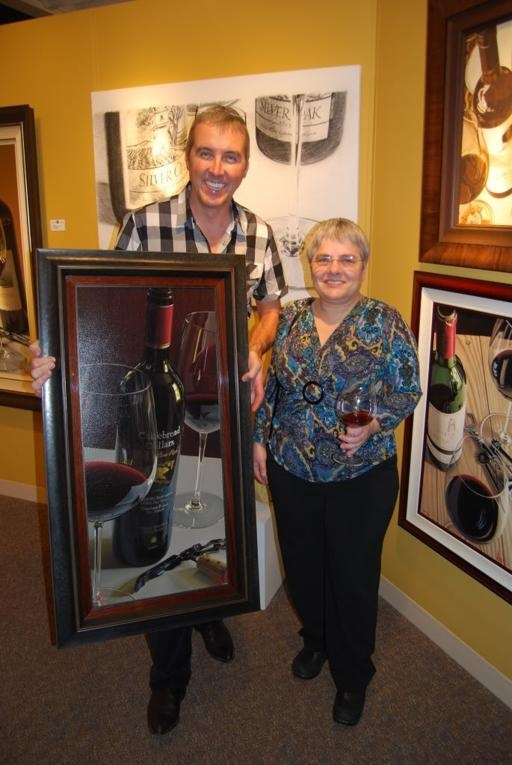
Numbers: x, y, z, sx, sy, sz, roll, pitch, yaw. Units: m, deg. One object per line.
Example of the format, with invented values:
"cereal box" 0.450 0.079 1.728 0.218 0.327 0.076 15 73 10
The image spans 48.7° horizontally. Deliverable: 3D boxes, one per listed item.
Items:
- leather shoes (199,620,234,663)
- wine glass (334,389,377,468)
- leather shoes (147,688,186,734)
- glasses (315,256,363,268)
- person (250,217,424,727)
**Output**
"leather shoes" -0.162 1.048 2.335 0.088 0.164 0.253 -7 -6 -26
"wine glass" 0.280 0.074 1.600 0.105 0.106 0.153 1 9 12
"leather shoes" -0.325 1.121 1.950 0.091 0.098 0.223 16 -1 -7
"glasses" 0.241 -0.354 1.674 0.110 0.031 0.033 0 9 7
"person" 0.246 0.325 1.843 0.345 1.656 0.534 -5 9 -26
